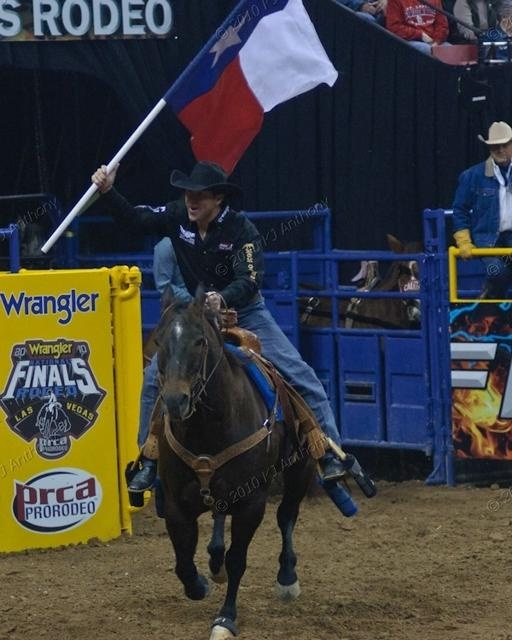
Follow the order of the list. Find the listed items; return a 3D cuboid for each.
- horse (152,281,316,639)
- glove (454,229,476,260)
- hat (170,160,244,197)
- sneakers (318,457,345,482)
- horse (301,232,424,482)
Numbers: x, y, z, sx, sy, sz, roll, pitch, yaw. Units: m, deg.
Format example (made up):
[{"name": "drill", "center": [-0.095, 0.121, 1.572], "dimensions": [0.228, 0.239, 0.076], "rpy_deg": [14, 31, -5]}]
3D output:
[{"name": "horse", "center": [-0.162, 0.902, 8.953], "dimensions": [0.741, 2.314, 1.827], "rpy_deg": [6, 13, 23]}, {"name": "glove", "center": [1.770, -0.645, 11.747], "dimensions": [0.156, 0.117, 0.276], "rpy_deg": [-11, 44, 9]}, {"name": "hat", "center": [-0.337, -0.944, 9.594], "dimensions": [0.282, 0.122, 0.312], "rpy_deg": [9, -8, 17]}, {"name": "sneakers", "center": [0.531, 1.047, 9.630], "dimensions": [0.166, 0.146, 0.120], "rpy_deg": [2, 12, 1]}, {"name": "horse", "center": [0.997, 0.055, 13.197], "dimensions": [0.507, 1.492, 1.906], "rpy_deg": [2, 1, -37]}]
